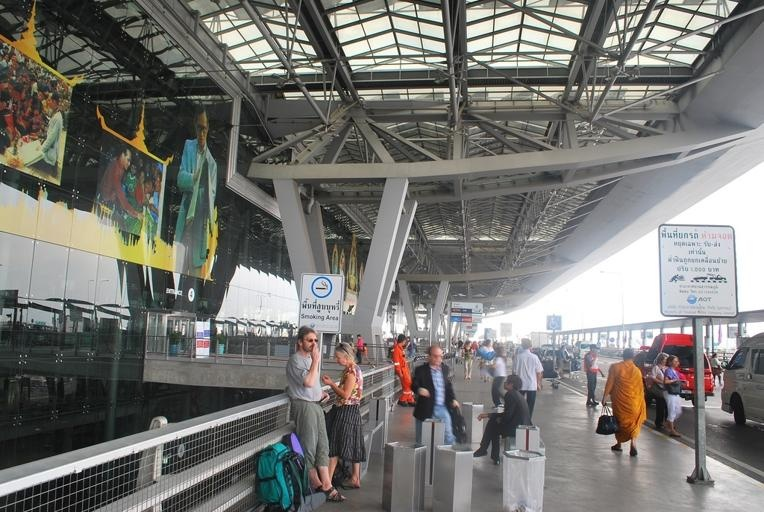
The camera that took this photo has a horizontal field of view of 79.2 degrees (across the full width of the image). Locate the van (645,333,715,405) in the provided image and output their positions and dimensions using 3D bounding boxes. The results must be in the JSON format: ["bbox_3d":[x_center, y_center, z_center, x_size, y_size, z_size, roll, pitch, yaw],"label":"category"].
[{"bbox_3d":[11.955,4.141,18.352,3.592,1.973,1.753,3,-14,-37],"label":"van"}]

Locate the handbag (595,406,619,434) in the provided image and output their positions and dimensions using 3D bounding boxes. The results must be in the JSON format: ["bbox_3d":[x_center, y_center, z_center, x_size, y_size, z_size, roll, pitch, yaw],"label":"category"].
[{"bbox_3d":[5.087,3.689,10.422,0.410,0.625,0.890,-4,-12,25],"label":"handbag"}]

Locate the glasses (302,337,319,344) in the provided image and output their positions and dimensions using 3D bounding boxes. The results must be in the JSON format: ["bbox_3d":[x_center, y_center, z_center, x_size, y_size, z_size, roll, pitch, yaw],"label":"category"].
[{"bbox_3d":[-1.027,1.179,6.462,0.157,0.072,0.084,4,-12,-15],"label":"glasses"}]

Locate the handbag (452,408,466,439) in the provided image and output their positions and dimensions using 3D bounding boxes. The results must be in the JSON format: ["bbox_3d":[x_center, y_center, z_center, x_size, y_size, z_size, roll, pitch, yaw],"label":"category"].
[{"bbox_3d":[1.418,3.135,8.606,0.206,0.660,0.495,-2,-11,15],"label":"handbag"}]
